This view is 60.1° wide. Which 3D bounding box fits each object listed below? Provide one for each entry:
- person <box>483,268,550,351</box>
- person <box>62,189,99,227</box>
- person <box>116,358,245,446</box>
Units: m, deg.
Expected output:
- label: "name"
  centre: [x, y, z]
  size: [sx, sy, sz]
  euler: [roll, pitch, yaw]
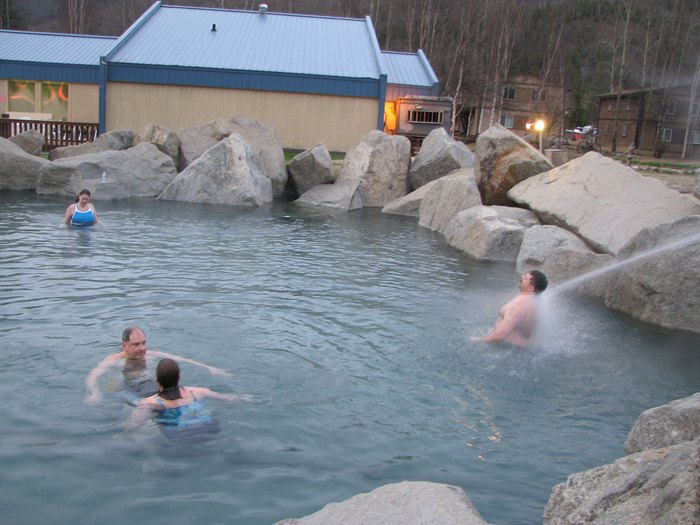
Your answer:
- label: "person"
  centre: [2.556, 0.639, 9.303]
  size: [0.728, 1.183, 1.445]
  euler: [12, 9, 20]
- label: "person"
  centre: [-6.673, -1.376, 15.062]
  size: [0.762, 0.910, 0.716]
  euler: [-2, 12, -25]
- label: "person"
  centre: [-1.847, 1.520, 6.503]
  size: [0.928, 0.443, 0.811]
  euler: [-6, 24, -27]
